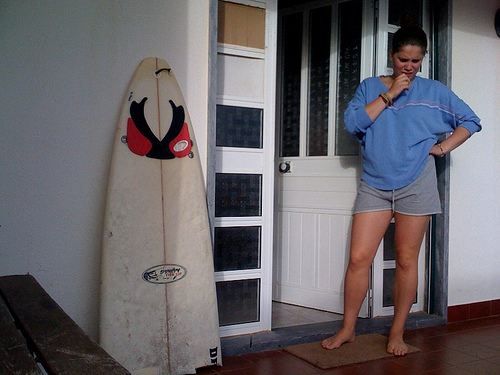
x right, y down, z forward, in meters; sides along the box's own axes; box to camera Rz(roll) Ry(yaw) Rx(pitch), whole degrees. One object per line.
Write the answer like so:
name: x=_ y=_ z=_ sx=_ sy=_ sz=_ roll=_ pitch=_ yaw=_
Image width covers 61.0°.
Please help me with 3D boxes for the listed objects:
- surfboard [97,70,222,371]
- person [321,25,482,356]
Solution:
surfboard: x=-0.494 y=0.179 z=2.459 sx=0.697 sy=1.751 sz=0.326 roll=1 pitch=3 yaw=-22
person: x=0.993 y=0.025 z=2.864 sx=0.886 sy=2.118 sz=0.413 roll=3 pitch=3 yaw=11
